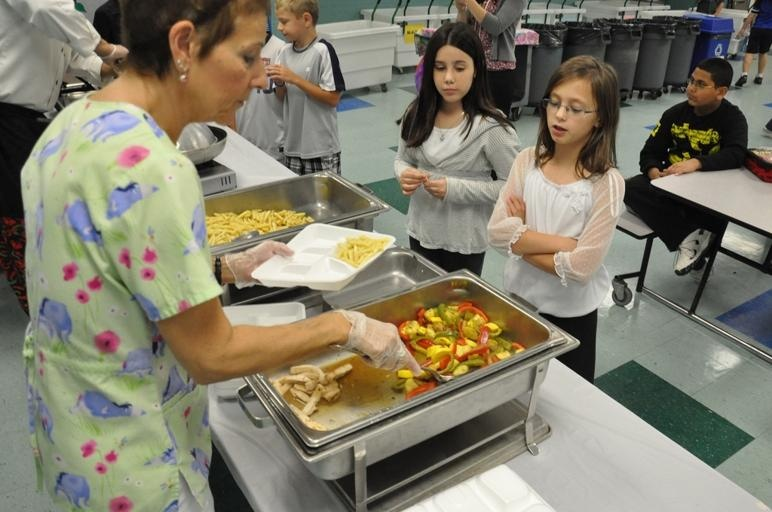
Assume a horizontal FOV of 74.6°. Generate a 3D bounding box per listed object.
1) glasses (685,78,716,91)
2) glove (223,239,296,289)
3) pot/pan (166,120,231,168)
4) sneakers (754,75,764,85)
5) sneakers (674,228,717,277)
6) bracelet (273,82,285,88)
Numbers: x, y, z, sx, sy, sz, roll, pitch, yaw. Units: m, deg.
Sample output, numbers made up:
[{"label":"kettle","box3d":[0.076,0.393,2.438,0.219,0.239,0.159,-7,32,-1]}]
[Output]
[{"label":"glasses","box3d":[2.329,-1.279,3.789,0.087,0.073,0.232,-7,32,-7]},{"label":"glove","box3d":[-0.531,0.040,2.128,0.353,0.120,0.089,-19,0,-44]},{"label":"pot/pan","box3d":[-1.094,-0.689,3.044,0.383,0.254,0.391,2,26,3]},{"label":"sneakers","box3d":[6.720,-3.126,9.106,0.089,0.115,0.279,1,26,11]},{"label":"sneakers","box3d":[2.344,-0.029,3.951,0.231,0.391,0.138,25,21,-2]},{"label":"bracelet","box3d":[-0.835,-1.319,3.942,0.065,0.018,0.065,-4,0,31]}]
